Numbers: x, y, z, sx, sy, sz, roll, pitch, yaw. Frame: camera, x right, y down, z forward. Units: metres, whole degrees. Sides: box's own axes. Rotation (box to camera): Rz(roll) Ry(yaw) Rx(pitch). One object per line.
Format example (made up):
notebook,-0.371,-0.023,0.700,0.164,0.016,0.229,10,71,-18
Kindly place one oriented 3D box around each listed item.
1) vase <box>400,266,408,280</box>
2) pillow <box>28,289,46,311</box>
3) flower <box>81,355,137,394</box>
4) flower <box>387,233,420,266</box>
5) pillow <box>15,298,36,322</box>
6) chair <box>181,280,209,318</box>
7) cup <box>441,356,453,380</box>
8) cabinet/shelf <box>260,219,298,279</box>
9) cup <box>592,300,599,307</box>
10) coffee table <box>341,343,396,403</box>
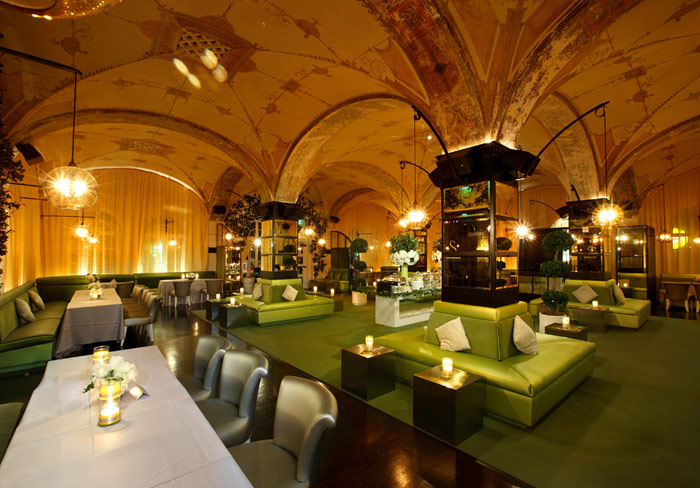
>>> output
vase,1.320,0.709,10.831,0.130,0.354,0.225,-1,-3,-5
pillow,-7.010,1.266,9.798,0.220,0.459,0.386,-17,-8,-36
flower,-2.782,1.487,5.139,0.545,0.409,0.555,-2,-7,-5
flower,1.307,0.133,10.752,0.691,0.803,0.708,2,4,37
pillow,-6.327,1.293,8.523,0.169,0.308,0.369,-6,35,-27
chair,-4.614,1.642,13.505,0.690,1.329,0.970,-2,-2,43
cup,1.357,1.744,6.191,0.232,0.371,0.234,0,-4,0
cabinet/shelf,-1.859,0.138,11.468,0.941,1.515,0.724,0,-3,-12
cup,5.463,1.341,9.769,0.158,0.188,0.164,-1,-2,0
coffee table,0.227,1.975,6.999,0.739,0.745,0.724,3,-3,-44
